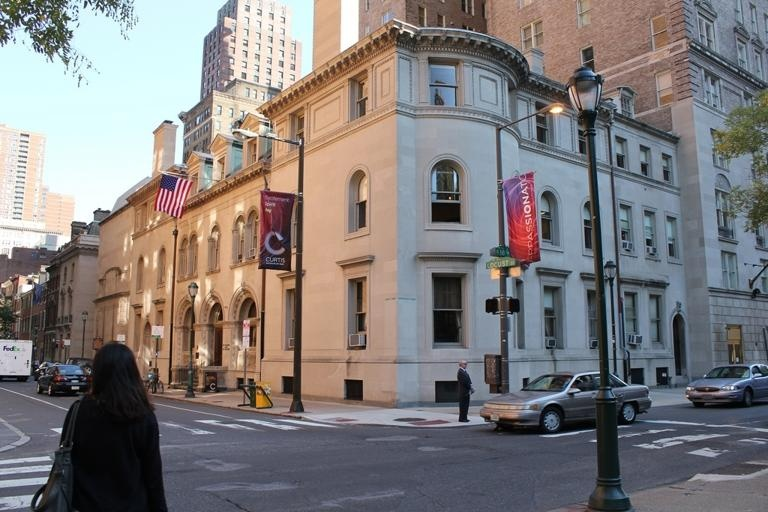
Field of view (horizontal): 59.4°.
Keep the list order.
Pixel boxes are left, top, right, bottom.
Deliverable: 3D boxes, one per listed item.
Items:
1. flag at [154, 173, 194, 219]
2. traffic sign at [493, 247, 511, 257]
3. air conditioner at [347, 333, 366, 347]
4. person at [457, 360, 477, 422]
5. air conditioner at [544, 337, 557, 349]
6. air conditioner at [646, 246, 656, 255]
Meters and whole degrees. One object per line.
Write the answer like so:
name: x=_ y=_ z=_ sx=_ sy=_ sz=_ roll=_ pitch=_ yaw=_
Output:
flag: x=-12.996 y=-3.757 z=41.555 sx=1.856 sy=2.710 sz=1.074 roll=4 pitch=-13 yaw=-21
traffic sign: x=4.830 y=-0.108 z=27.655 sx=0.480 sy=0.462 sz=0.801 roll=9 pitch=3 yaw=28
air conditioner: x=-1.370 y=4.361 z=33.993 sx=1.182 sy=0.729 sz=0.274 roll=-11 pitch=-16 yaw=36
person: x=3.255 y=5.576 z=27.405 sx=0.566 sy=2.487 sz=1.429 roll=-2 pitch=-12 yaw=5
air conditioner: x=9.284 y=4.941 z=37.825 sx=0.628 sy=0.677 sz=0.624 roll=1 pitch=-4 yaw=-15
air conditioner: x=17.732 y=-0.256 z=44.908 sx=0.978 sy=0.672 sz=0.539 roll=7 pitch=-11 yaw=-40
